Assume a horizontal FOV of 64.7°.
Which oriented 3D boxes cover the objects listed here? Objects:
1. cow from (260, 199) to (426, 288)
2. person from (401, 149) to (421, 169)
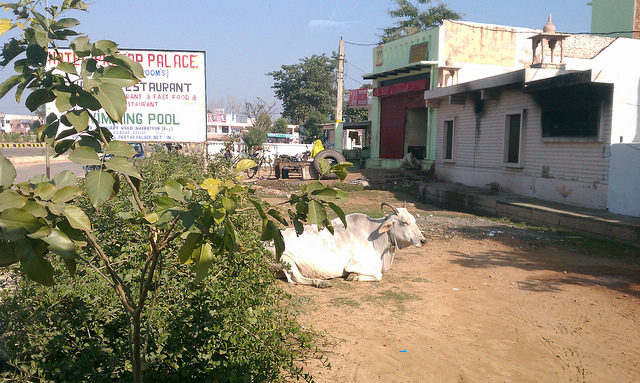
[{"bbox_3d":[0.385,0.909,8.958,3.005,1.369,1.118,-3,-2,11],"label":"cow"},{"bbox_3d":[4.089,-1.437,22.636,0.934,0.970,0.747,4,2,8],"label":"person"}]
